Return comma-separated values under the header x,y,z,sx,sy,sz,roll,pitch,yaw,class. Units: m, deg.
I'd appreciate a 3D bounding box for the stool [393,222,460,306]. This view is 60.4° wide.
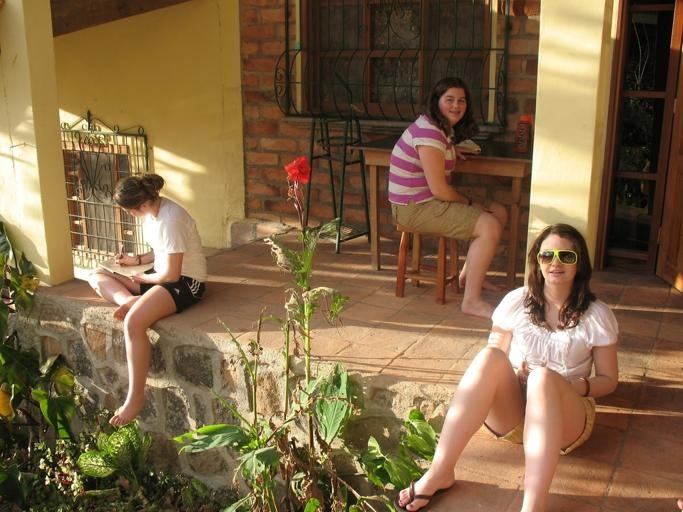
x,y,z,sx,sy,sz,roll,pitch,yaw,class
0.707,0.022,4.467,0.490,0.552,0.478,6,3,-42,stool

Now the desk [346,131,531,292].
x,y,z,sx,sy,sz,roll,pitch,yaw,class
0.970,-0.561,4.995,1.359,1.107,1.157,8,31,23,desk

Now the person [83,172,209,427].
x,y,z,sx,sy,sz,roll,pitch,yaw,class
-1.303,0.260,3.959,0.752,1.612,0.651,-7,12,-43,person

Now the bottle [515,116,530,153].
x,y,z,sx,sy,sz,roll,pitch,yaw,class
1.367,-0.924,4.408,0.099,0.288,0.217,4,9,15,bottle
